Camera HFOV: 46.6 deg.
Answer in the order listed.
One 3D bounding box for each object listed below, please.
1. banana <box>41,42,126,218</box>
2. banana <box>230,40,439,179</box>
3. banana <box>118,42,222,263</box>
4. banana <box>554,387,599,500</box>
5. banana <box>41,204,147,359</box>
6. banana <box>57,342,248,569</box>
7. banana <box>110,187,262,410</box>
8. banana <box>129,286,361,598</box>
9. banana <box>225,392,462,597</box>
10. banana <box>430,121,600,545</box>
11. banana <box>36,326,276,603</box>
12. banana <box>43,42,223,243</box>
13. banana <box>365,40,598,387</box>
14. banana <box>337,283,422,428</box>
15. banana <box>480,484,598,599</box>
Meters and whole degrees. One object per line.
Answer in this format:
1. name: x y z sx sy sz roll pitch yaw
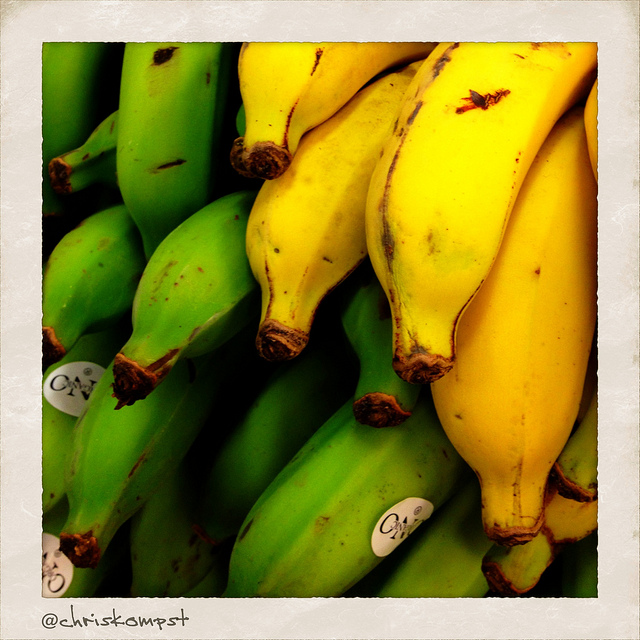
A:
1. banana: -0.220 -0.183 0.688 0.037 0.052 0.155 12 65 38
2. banana: 0.033 -0.204 0.658 0.077 0.111 0.289 39 38 11
3. banana: -0.128 -0.166 0.649 0.059 0.256 0.078 2 -2 -7
4. banana: 0.224 0.095 0.640 0.024 0.035 0.103 23 61 -8
5. banana: -0.206 -0.039 0.721 0.073 0.049 0.149 34 62 -8
6. banana: -0.165 0.139 0.726 0.098 0.109 0.331 -33 21 15
7. banana: -0.093 -0.033 0.644 0.083 0.070 0.208 34 81 -9
8. banana: -0.061 0.099 0.632 0.262 0.068 0.086 -55 25 3
9. banana: 0.017 0.152 0.616 0.200 0.133 0.096 -26 41 -30
10. banana: 0.159 0.017 0.614 0.093 0.109 0.352 15 85 -4
11. banana: -0.168 0.120 0.674 0.218 0.261 0.058 1 4 7
12. banana: -0.173 -0.140 0.675 0.159 0.189 0.075 0 1 8
13. banana: 0.121 -0.152 0.597 0.084 0.122 0.366 15 74 22
14. banana: 0.057 0.028 0.631 0.063 0.047 0.139 -13 42 13
15. banana: 0.178 0.182 0.628 0.064 0.033 0.125 35 82 1
